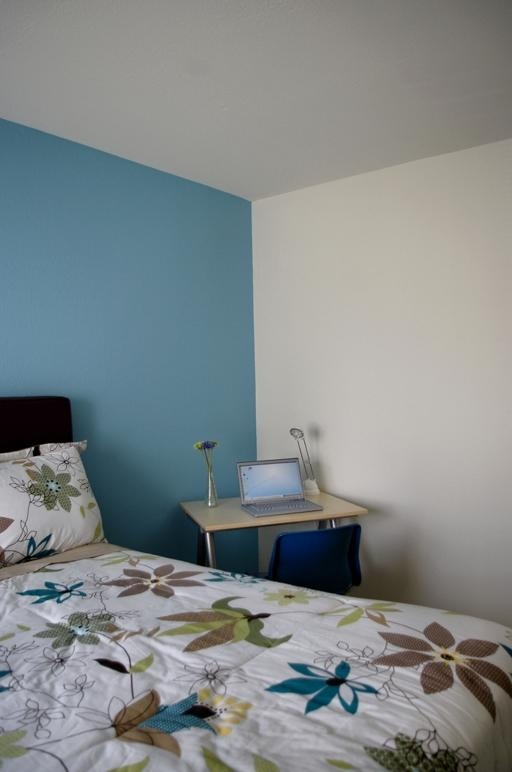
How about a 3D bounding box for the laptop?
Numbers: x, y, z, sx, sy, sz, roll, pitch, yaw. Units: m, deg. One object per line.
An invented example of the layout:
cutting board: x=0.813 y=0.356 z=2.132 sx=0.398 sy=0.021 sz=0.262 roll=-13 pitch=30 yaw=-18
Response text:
laptop: x=0.089 y=0.448 z=2.823 sx=0.295 sy=0.173 sz=0.250 roll=-2 pitch=2 yaw=-21
